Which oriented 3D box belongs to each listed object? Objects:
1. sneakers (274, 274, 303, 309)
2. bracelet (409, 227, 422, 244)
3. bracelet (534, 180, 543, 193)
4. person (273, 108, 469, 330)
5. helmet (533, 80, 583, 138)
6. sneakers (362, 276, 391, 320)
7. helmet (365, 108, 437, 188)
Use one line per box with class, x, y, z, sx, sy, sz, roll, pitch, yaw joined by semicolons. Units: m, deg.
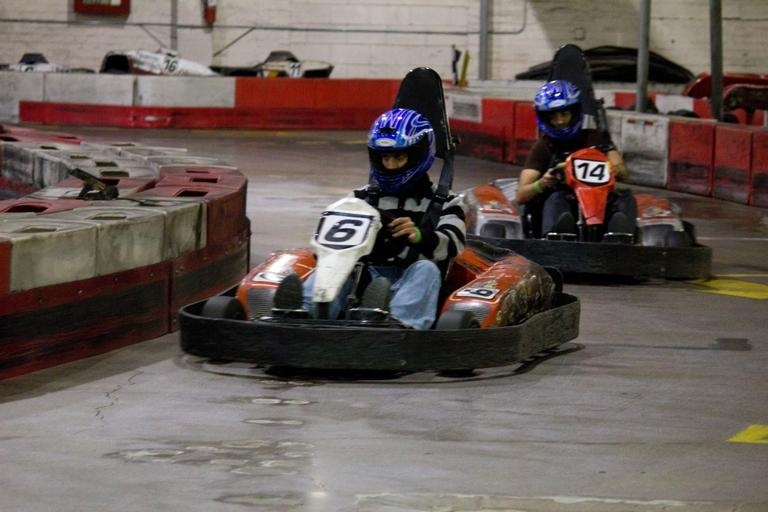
sneakers;-0.455;0.176;4.936;0.198;0.148;0.048;12;-11;-2
bracelet;0.155;-0.105;5.148;0.039;0.070;0.076;34;-30;-32
bracelet;1.079;-0.483;7.126;0.056;0.095;0.081;-2;15;-13
person;0.023;-0.207;5.252;0.782;1.079;0.918;3;14;4
helmet;1.246;-1.029;7.306;0.340;0.433;0.295;4;16;9
sneakers;-0.039;0.198;4.975;0.138;0.170;0.207;1;13;-1
helmet;-0.025;-0.574;5.487;0.540;0.323;0.471;1;16;0
